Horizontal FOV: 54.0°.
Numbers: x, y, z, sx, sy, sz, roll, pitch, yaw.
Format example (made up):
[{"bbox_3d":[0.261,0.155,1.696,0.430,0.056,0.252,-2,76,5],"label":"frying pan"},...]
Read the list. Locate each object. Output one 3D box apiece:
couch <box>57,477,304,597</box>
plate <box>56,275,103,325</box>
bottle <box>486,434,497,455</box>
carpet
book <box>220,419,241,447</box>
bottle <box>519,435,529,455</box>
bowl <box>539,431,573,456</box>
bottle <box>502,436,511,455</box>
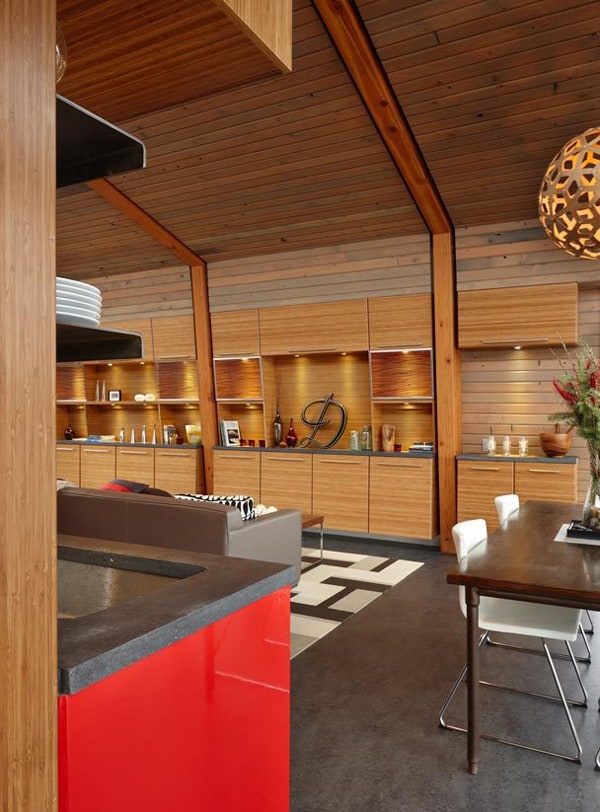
[{"bbox_3d":[-0.897,0.845,3.979,1.543,0.515,0.804,0,-1,10],"label":"couch"},{"bbox_3d":[-0.422,-0.196,1.127,0.092,0.038,0.111,0,0,-30],"label":"plate"},{"bbox_3d":[1.946,0.382,6.055,0.109,0.193,0.144,0,-1,23],"label":"bottle"},{"bbox_3d":[0.148,1.424,4.661,1.092,0.024,2.383,0,-1,26],"label":"carpet"},{"bbox_3d":[-0.896,0.348,7.439,0.126,0.343,0.322,-11,-8,32],"label":"book"},{"bbox_3d":[2.215,0.394,5.883,0.099,0.183,0.244,0,-1,22],"label":"bottle"},{"bbox_3d":[2.410,0.334,5.580,0.260,0.194,0.258,0,1,0],"label":"bowl"},{"bbox_3d":[2.069,0.391,5.941,0.077,0.188,0.236,0,-1,18],"label":"bottle"}]
